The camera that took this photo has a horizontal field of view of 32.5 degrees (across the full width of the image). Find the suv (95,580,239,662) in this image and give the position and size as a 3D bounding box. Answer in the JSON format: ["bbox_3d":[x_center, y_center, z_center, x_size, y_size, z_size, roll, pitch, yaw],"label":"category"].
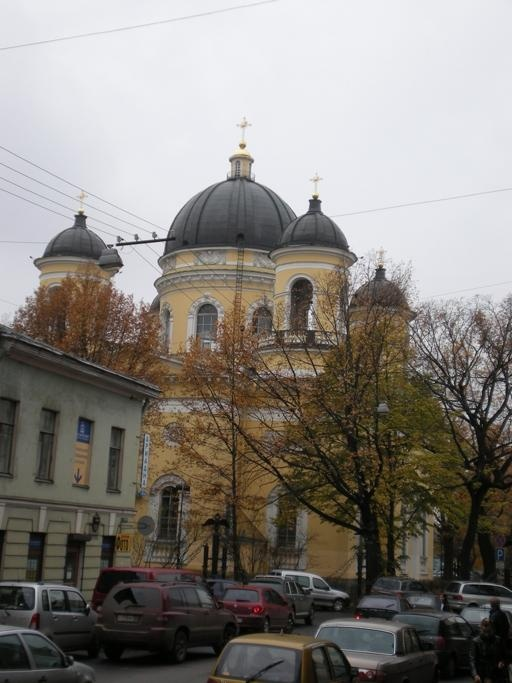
[{"bbox_3d":[-1.644,5.224,16.897,1.417,1.022,2.848,-5,-9,25],"label":"suv"}]

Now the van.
[{"bbox_3d":[-2.682,5.532,19.360,3.652,1.013,1.070,-3,-13,16],"label":"van"}]
